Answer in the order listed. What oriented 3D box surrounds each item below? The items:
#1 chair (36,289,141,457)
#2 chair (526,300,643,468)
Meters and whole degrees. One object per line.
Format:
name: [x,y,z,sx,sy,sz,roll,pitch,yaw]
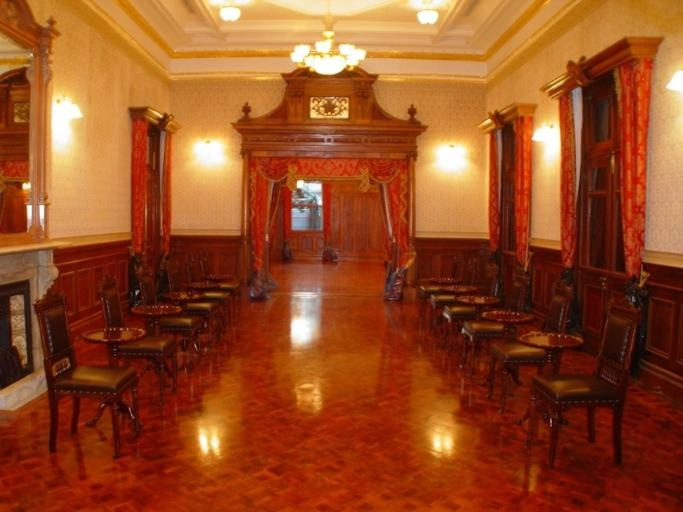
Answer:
chair: [-2.302,1.019,4.556,0.868,1.346,0.583,1,7,7]
chair: [2.166,1.083,4.412,0.919,1.332,0.500,0,7,-6]
